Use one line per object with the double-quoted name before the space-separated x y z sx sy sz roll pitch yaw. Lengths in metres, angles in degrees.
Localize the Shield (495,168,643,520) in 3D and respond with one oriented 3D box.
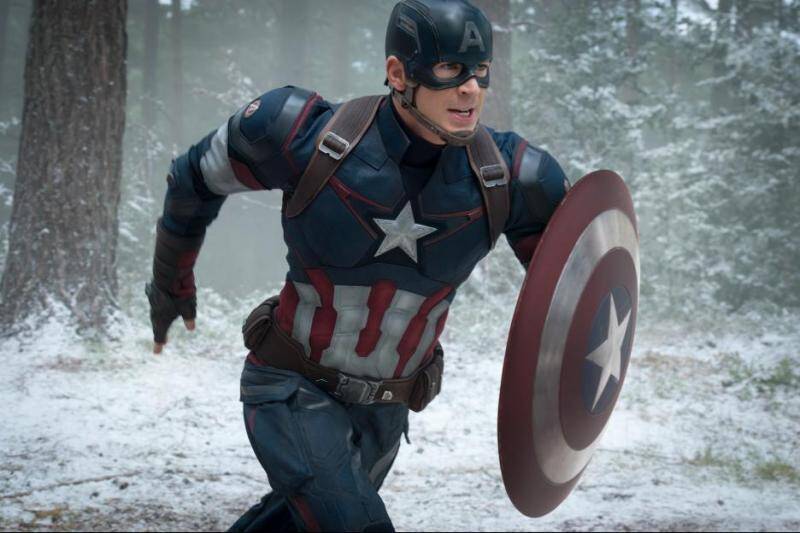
"Shield" 1.059 0.481 5.871 0.960 2.167 0.283 1 10 -38
